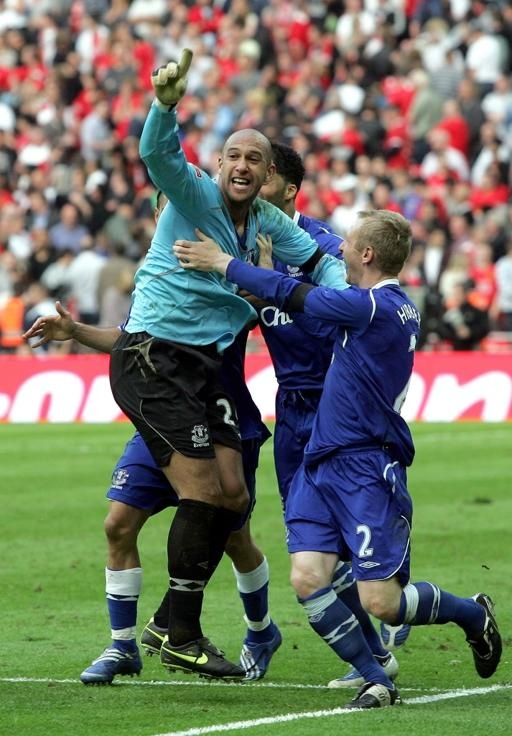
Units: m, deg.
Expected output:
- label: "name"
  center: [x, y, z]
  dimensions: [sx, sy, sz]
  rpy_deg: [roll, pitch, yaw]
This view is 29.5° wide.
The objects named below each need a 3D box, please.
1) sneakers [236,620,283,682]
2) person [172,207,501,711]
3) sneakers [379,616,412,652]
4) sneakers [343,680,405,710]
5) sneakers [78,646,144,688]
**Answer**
- label: "sneakers"
  center: [0.030, 1.127, 3.825]
  dimensions: [0.096, 0.114, 0.246]
  rpy_deg: [-11, 34, 38]
- label: "person"
  center: [0.327, 0.278, 3.296]
  dimensions: [1.189, 1.667, 0.516]
  rpy_deg: [2, 2, -4]
- label: "sneakers"
  center: [0.595, 1.093, 4.093]
  dimensions: [0.096, 0.100, 0.260]
  rpy_deg: [-1, 16, 25]
- label: "sneakers"
  center: [0.378, 1.040, 3.105]
  dimensions: [0.184, 0.065, 0.069]
  rpy_deg: [0, -8, -36]
- label: "sneakers"
  center: [-0.512, 1.061, 3.467]
  dimensions: [0.093, 0.109, 0.256]
  rpy_deg: [-1, 1, 43]
